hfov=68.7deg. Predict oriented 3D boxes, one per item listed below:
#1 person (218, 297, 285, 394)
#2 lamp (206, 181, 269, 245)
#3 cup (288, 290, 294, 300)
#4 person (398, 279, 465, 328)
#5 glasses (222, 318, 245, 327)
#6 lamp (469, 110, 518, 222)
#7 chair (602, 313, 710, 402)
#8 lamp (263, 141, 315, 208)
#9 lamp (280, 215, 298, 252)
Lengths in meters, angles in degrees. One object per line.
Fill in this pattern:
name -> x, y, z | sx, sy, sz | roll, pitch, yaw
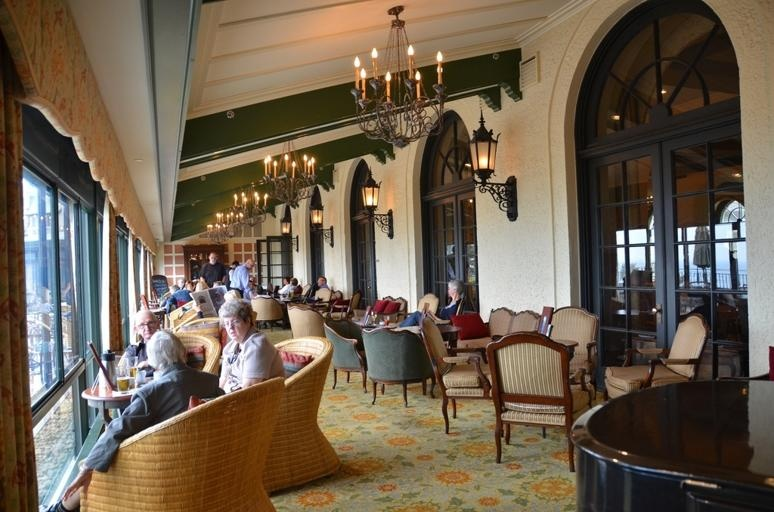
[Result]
person -> -1.255, 0.811, 5.073 | 0.477, 0.863, 0.710 | -7, 9, -38
lamp -> -4.015, -1.178, 15.848 | 1.920, 0.837, 1.905 | -18, 6, -32
cup -> -2.567, 1.050, 15.220 | 0.164, 0.226, 0.230 | 0, -15, -3
person -> 0.688, 0.674, 8.362 | 0.787, 1.161, 0.696 | 6, -7, -22
glasses -> -1.353, 0.573, 4.977 | 0.112, 0.053, 0.100 | -5, -1, 22
lamp -> 1.436, -1.193, 8.047 | 0.680, 1.436, 0.754 | -4, 8, -19
chair -> 2.801, 1.150, 5.894 | 0.889, 1.150, 0.779 | 0, 3, 12
lamp -> -1.877, -1.610, 10.883 | 1.073, 1.610, 1.060 | -2, 4, -35
lamp -> -3.300, -0.724, 19.624 | 0.531, 1.336, 1.889 | -3, 7, -8
